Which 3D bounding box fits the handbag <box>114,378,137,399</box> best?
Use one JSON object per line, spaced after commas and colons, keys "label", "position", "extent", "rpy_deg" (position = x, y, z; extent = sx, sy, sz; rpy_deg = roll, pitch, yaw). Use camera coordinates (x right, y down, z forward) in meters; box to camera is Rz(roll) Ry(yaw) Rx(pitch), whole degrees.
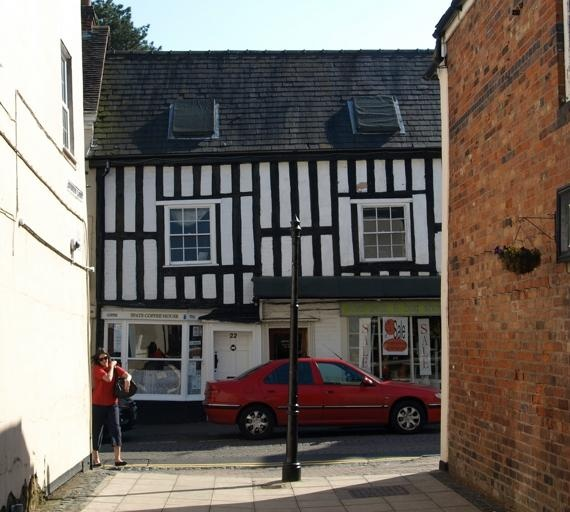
{"label": "handbag", "position": [-2.284, 1.875, 12.945], "extent": [0.402, 0.269, 0.219], "rpy_deg": [-11, -13, 35]}

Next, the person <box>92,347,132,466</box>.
{"label": "person", "position": [-2.582, 2.221, 13.337], "extent": [0.561, 1.715, 1.273], "rpy_deg": [-1, -10, -13]}

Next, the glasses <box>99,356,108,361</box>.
{"label": "glasses", "position": [-2.641, 1.488, 13.122], "extent": [0.061, 0.075, 0.028], "rpy_deg": [-4, 26, 0]}
